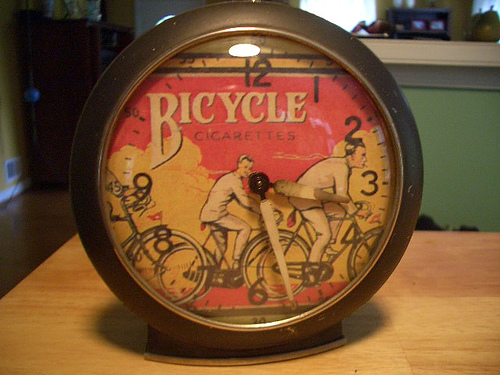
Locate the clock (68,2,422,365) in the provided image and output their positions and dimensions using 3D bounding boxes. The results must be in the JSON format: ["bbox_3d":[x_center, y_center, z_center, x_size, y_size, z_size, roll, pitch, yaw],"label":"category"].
[{"bbox_3d":[-0.002,0.003,0.860,0.509,0.531,0.127,-2,16,-12],"label":"clock"}]

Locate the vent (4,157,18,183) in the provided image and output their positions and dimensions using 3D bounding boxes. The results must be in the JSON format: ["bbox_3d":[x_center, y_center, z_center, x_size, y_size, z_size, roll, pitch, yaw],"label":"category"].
[{"bbox_3d":[-0.466,-0.031,1.139,0.013,0.057,0.040,4,1,16],"label":"vent"}]
